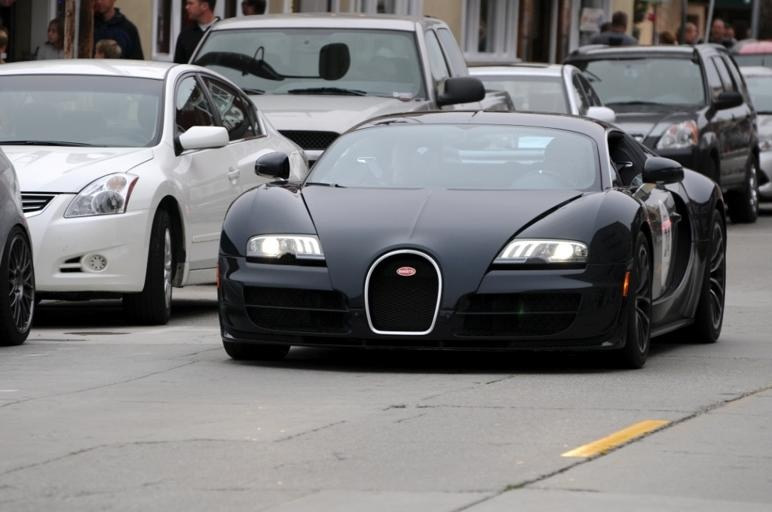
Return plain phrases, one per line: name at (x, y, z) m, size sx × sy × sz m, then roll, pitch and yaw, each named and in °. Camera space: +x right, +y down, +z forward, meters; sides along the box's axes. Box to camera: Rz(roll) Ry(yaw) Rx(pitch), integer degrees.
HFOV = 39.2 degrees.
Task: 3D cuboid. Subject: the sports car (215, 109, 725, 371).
sports car at (0.660, -0.157, 7.642) m, size 3.636 × 1.798 × 1.886 m, roll 1°, pitch 3°, yaw -9°
